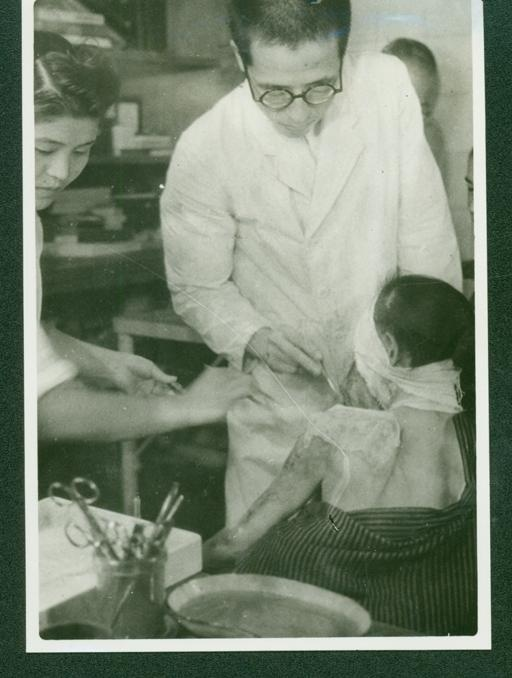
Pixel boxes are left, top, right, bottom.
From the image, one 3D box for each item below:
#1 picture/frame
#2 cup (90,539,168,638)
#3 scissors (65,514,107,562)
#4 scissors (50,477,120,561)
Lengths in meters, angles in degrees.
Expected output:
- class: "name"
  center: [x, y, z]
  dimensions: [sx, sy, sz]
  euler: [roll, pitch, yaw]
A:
- class: "picture/frame"
  center: [-0.002, -0.008, 1.727]
  dimensions: [1.082, 1.085, 0.839]
  euler: [5, 37, 0]
- class: "cup"
  center: [-0.240, 0.477, 1.739]
  dimensions: [0.159, 0.138, 0.210]
  euler: [2, 80, -17]
- class: "scissors"
  center: [-0.330, 0.388, 1.738]
  dimensions: [0.055, 0.019, 0.092]
  euler: [-39, 88, -15]
- class: "scissors"
  center: [-0.329, 0.331, 1.751]
  dimensions: [0.083, 0.008, 0.209]
  euler: [-30, 81, 2]
